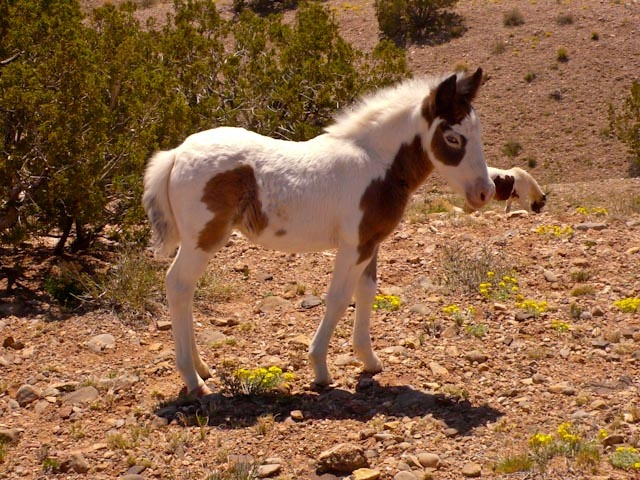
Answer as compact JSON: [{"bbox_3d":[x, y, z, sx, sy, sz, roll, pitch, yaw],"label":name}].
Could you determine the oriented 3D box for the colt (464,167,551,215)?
[{"bbox_3d":[4.030,-1.019,18.004,1.977,1.081,0.530,6,5,-14],"label":"colt"}]
